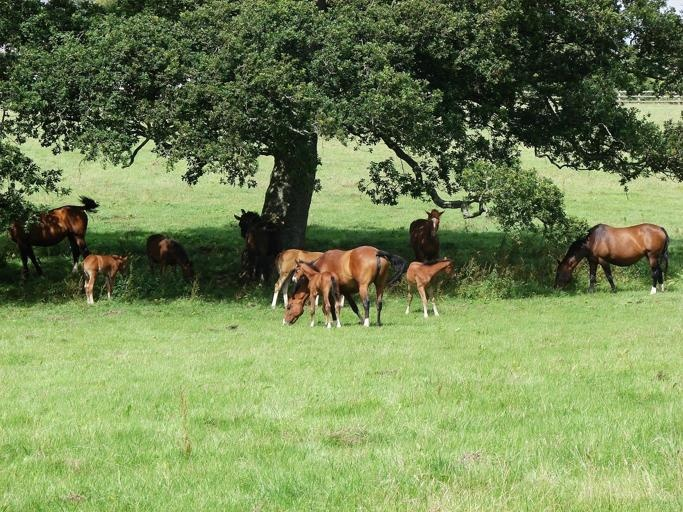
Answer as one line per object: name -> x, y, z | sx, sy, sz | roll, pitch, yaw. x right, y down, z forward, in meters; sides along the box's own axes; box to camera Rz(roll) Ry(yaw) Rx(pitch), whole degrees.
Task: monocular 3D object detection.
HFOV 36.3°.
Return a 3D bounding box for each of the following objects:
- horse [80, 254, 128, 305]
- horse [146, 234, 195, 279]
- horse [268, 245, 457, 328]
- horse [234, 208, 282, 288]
horse -> -8.349, 0.765, 37.157 | 0.539, 1.763, 2.034 | -6, -5, 40
horse -> -6.604, 0.006, 40.406 | 1.005, 1.475, 2.717 | -9, 15, -38
horse -> 0.067, 0.999, 34.205 | 4.120, 2.978, 3.855 | -2, 8, -22
horse -> -3.438, -0.457, 41.112 | 0.929, 2.620, 3.574 | 15, -3, -23
